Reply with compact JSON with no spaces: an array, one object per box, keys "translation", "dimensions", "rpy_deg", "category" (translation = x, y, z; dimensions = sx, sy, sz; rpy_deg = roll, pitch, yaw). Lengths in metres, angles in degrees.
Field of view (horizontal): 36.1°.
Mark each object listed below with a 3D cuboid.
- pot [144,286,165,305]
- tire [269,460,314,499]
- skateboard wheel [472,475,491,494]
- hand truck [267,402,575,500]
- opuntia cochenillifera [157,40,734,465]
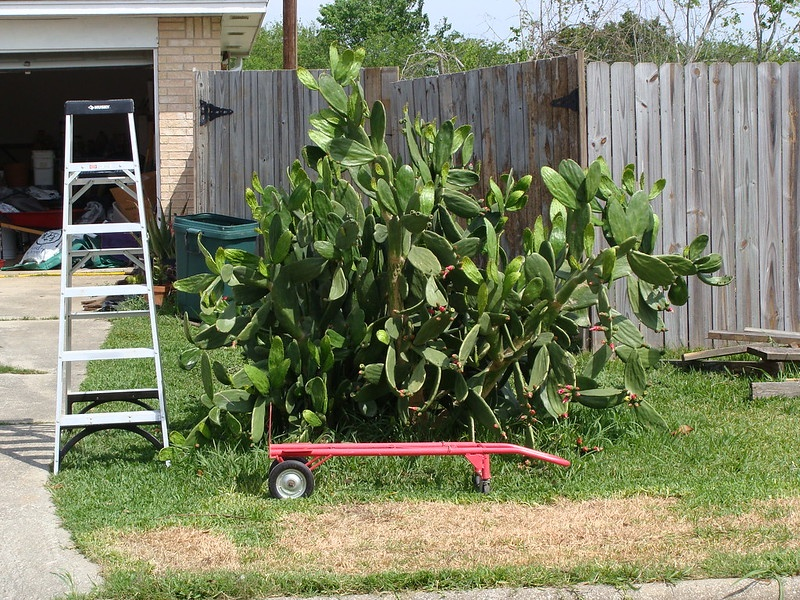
[{"translation":[-2.384,-0.016,11.953],"dimensions":[0.161,0.211,0.154],"rpy_deg":[0,-5,0],"category":"pot"},{"translation":[-0.780,1.282,8.804],"dimensions":[0.217,0.260,0.094],"rpy_deg":[-2,0,-4],"category":"tire"},{"translation":[0.601,1.331,8.870],"dimensions":[0.129,0.146,0.084],"rpy_deg":[-4,-8,28],"category":"skateboard wheel"},{"translation":[-0.036,1.209,8.860],"dimensions":[1.815,0.376,0.146],"rpy_deg":[-1,1,-2],"category":"hand truck"},{"translation":[0.180,-0.339,9.317],"dimensions":[3.522,2.960,1.125],"rpy_deg":[-1,1,3],"category":"opuntia cochenillifera"}]
